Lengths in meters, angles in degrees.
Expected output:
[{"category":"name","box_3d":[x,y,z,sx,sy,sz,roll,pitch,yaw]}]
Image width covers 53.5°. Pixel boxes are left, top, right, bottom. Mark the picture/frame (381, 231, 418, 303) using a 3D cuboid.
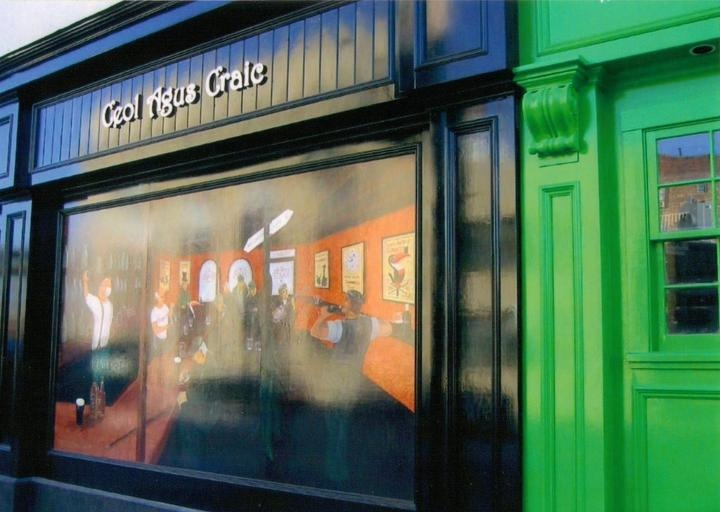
[{"category":"picture/frame","box_3d":[0.343,0.103,6.052,0.503,0.789,0.033,-4,-7,36]}]
